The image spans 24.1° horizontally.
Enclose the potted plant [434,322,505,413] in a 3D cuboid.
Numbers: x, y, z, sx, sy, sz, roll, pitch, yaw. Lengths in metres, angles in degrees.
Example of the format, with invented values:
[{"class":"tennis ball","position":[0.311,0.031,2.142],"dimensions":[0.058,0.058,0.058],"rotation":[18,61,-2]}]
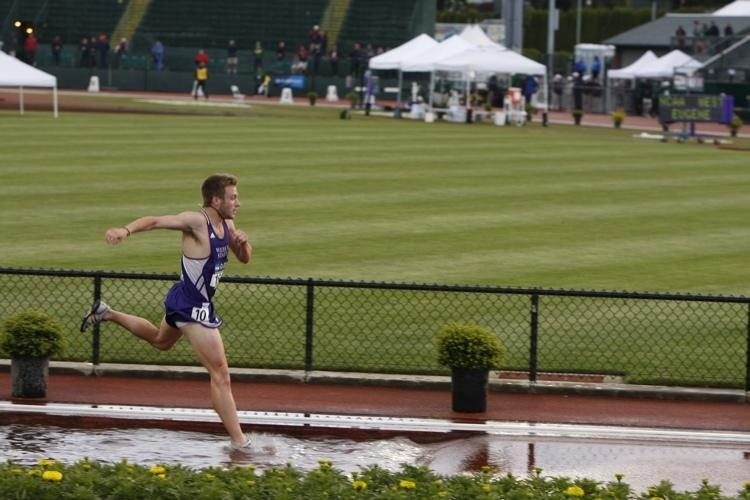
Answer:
[{"class":"potted plant","position":[1.781,2.459,35.764],"dimensions":[2.098,1.905,1.619],"rotation":[1,-5,-2]}]
